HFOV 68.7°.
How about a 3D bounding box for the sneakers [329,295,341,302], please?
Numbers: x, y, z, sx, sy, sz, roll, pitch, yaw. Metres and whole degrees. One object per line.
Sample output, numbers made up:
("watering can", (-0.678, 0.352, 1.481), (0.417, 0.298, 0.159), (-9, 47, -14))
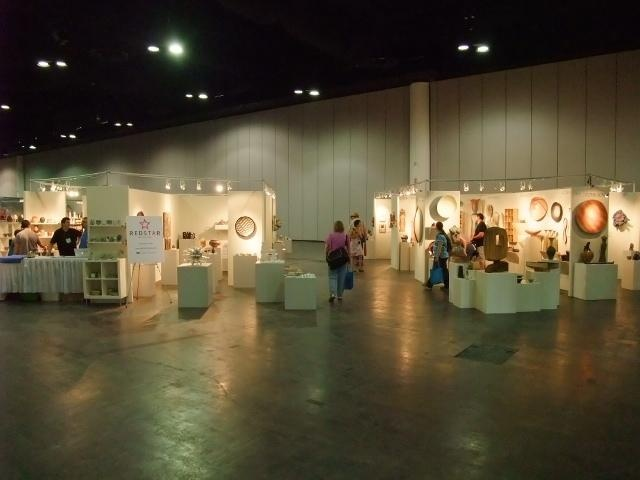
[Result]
("sneakers", (0.352, 1.285, 10.115), (0.218, 0.137, 0.129), (1, -2, -9))

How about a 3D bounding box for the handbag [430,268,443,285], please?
("handbag", (2.791, 0.875, 11.214), (0.285, 0.423, 0.210), (4, 11, 21))

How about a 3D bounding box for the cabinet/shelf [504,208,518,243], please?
("cabinet/shelf", (5.492, -0.415, 13.498), (0.135, 1.031, 0.591), (-3, 10, -14))

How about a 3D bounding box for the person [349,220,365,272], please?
("person", (1.177, 0.207, 14.455), (0.418, 1.604, 0.865), (1, 10, 7))

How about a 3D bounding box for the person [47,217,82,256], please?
("person", (-5.998, -0.077, 11.075), (0.629, 0.884, 0.568), (-4, 11, -19))

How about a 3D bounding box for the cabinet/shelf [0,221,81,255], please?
("cabinet/shelf", (-7.348, -0.033, 12.569), (0.917, 0.800, 0.392), (0, -4, -8))

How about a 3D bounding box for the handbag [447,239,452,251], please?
("handbag", (3.083, 0.123, 11.112), (0.104, 0.336, 0.536), (2, 12, 16))

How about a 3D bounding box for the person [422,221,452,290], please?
("person", (2.812, 0.433, 11.071), (0.531, 1.702, 0.728), (2, 10, 14))

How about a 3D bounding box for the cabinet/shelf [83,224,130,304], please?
("cabinet/shelf", (-4.544, 0.497, 10.054), (0.942, 1.771, 0.665), (-3, 10, -13))

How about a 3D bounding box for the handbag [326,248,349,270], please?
("handbag", (0.393, 0.385, 9.770), (0.287, 0.313, 0.171), (-24, 6, 10))
